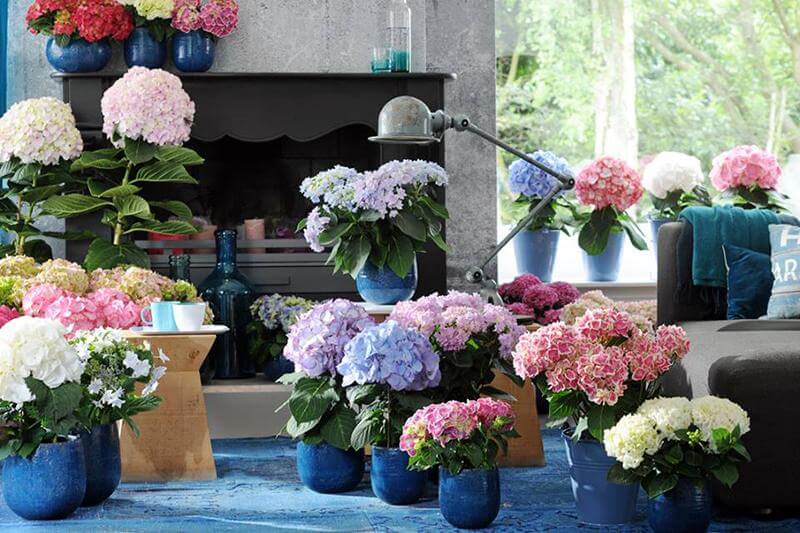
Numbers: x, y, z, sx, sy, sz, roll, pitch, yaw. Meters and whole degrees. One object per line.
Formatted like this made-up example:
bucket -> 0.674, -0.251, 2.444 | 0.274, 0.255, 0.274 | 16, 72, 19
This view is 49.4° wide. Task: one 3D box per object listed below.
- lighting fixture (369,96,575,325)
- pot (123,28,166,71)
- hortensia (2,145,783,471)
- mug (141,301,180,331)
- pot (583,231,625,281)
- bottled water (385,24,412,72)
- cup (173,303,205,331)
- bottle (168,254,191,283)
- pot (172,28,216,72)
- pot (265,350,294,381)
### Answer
lighting fixture -> 0.354, -0.263, 4.034 | 0.897, 1.065, 0.318 | 0, 10, -1
pot -> -1.332, -1.126, 4.561 | 0.198, 0.213, 0.211 | 1, 8, 0
hortensia -> -0.167, 0.186, 3.953 | 3.667, 1.334, 1.527 | -1, 4, -8
mug -> -1.062, 0.215, 3.898 | 0.168, 0.132, 0.115 | -2, 0, 2
pot -> 1.260, -0.084, 5.395 | 0.261, 0.275, 0.300 | 0, 5, -2
bottled water -> -0.009, -1.154, 4.635 | 0.130, 0.241, 0.176 | 0, 5, 0
cup -> -0.927, 0.212, 3.807 | 0.107, 0.105, 0.123 | -1, -7, 8
bottle -> -1.113, 0.003, 4.387 | 0.118, 0.201, 0.125 | 1, 6, 0
pot -> -1.082, -1.128, 4.546 | 0.198, 0.214, 0.209 | 0, -1, 0
pot -> -0.623, 0.501, 4.391 | 0.205, 0.150, 0.057 | 3, 6, 33
